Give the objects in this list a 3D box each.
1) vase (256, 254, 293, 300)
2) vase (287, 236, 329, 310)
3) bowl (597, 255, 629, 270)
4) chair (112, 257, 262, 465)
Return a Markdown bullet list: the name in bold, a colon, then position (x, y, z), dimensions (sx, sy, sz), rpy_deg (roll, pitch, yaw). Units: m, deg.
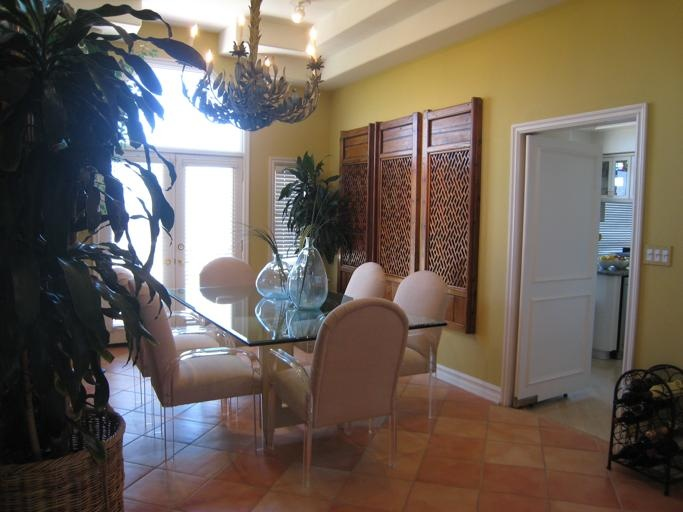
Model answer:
- **vase**: position (-0.551, 0.176, 4.309), dimensions (0.319, 0.338, 0.338), rpy_deg (1, 3, 22)
- **vase**: position (-0.262, 0.157, 4.084), dimensions (0.328, 0.584, 0.339), rpy_deg (0, -4, 26)
- **bowl**: position (3.118, 0.087, 5.934), dimensions (0.225, 0.107, 0.215), rpy_deg (0, 0, 0)
- **chair**: position (-1.100, 0.205, 3.950), dimensions (1.039, 1.783, 1.719), rpy_deg (-4, 10, -23)
